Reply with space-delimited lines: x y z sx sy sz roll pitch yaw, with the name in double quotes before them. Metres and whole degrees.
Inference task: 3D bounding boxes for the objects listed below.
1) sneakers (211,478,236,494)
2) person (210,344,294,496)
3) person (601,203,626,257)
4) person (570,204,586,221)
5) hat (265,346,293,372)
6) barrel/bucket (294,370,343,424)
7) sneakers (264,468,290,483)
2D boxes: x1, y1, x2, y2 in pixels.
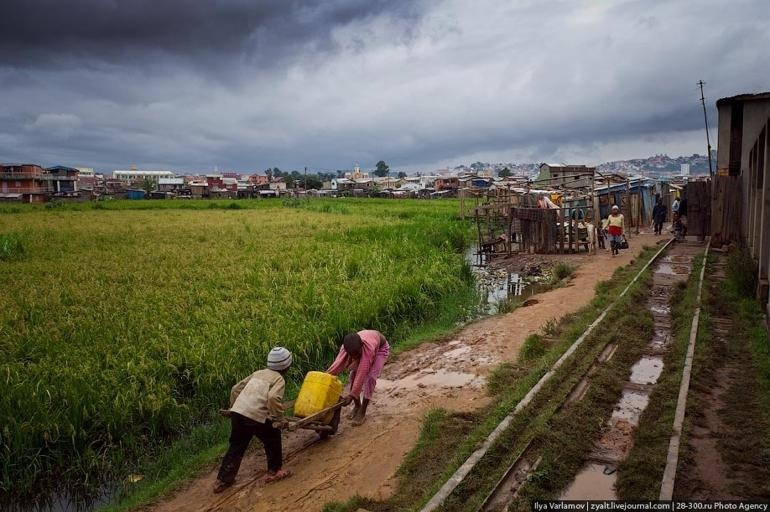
"sneakers" -2.892 4.105 9.393 0.389 0.170 0.165 -4 7 -38
"person" -2.327 2.931 9.427 1.322 2.417 0.545 -3 7 -3
"person" 9.182 -1.010 21.099 0.889 2.001 0.832 2 5 25
"person" 9.048 -1.984 24.464 1.158 0.714 1.470 0 3 22
"hat" -1.931 1.905 9.653 0.430 0.377 0.446 14 23 18
"barrel/bucket" -1.238 2.777 10.212 0.902 0.944 0.938 14 -22 6
"sneakers" -1.925 3.947 9.365 0.399 0.173 0.206 -8 5 -4
